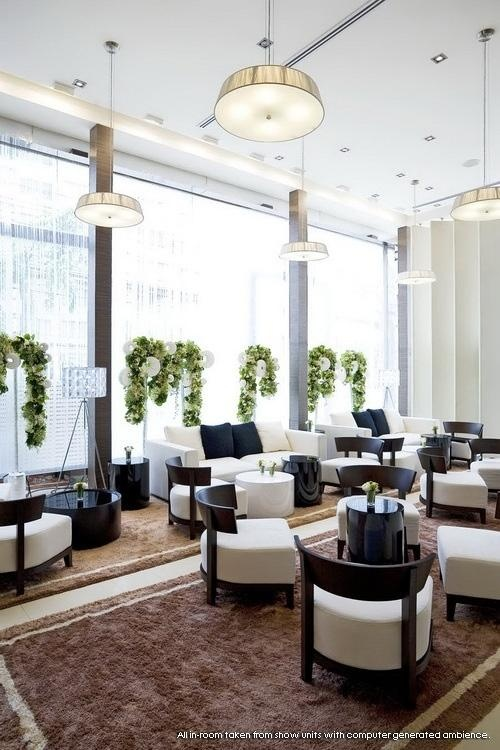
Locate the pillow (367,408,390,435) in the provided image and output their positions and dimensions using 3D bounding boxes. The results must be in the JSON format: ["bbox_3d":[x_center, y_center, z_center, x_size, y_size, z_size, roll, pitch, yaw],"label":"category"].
[{"bbox_3d":[2.007,0.728,9.274,0.133,0.378,0.367,-24,-18,30],"label":"pillow"}]

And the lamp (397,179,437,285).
[{"bbox_3d":[2.354,-2.081,8.683,0.503,1.390,0.524,0,9,-3],"label":"lamp"}]

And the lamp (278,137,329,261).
[{"bbox_3d":[0.653,-2.125,7.463,0.560,1.414,1.798,-1,7,4],"label":"lamp"}]

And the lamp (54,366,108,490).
[{"bbox_3d":[-1.602,0.479,5.898,0.457,1.131,0.457,-3,11,-26],"label":"lamp"}]

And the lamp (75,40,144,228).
[{"bbox_3d":[-1.413,-2.186,5.817,0.587,1.509,1.799,-3,7,-15],"label":"lamp"}]
